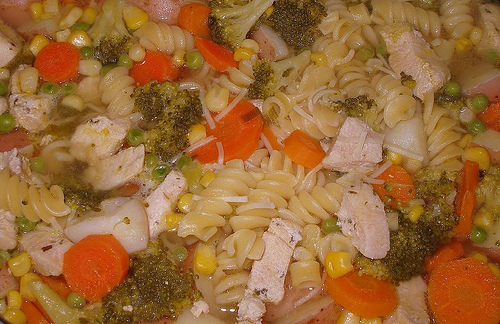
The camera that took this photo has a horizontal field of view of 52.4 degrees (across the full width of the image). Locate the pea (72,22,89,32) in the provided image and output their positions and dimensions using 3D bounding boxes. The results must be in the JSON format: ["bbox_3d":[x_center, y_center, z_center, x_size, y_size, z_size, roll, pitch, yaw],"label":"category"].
[{"bbox_3d":[-2.142,-1.707,6.432,0.132,0.110,0.107,2,68,3],"label":"pea"}]

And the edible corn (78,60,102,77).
[{"bbox_3d":[-2.000,-1.166,6.339,0.226,0.171,0.178,1,105,-10],"label":"edible corn"}]

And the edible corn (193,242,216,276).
[{"bbox_3d":[-0.535,1.153,6.087,0.250,0.093,0.351,0,90,5],"label":"edible corn"}]

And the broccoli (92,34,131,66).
[{"bbox_3d":[-1.728,-1.400,6.454,0.382,0.169,0.409,21,89,11],"label":"broccoli"}]

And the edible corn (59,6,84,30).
[{"bbox_3d":[-2.267,-1.813,6.501,0.193,0.100,0.335,41,91,1],"label":"edible corn"}]

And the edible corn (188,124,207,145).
[{"bbox_3d":[-0.657,-0.350,6.272,0.223,0.088,0.229,-12,77,0],"label":"edible corn"}]

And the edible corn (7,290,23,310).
[{"bbox_3d":[-2.810,1.630,6.049,0.142,0.108,0.204,-2,87,-11],"label":"edible corn"}]

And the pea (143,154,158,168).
[{"bbox_3d":[-1.220,-0.014,6.237,0.142,0.084,0.155,-23,91,-5],"label":"pea"}]

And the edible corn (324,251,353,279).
[{"bbox_3d":[1.035,1.195,5.954,0.287,0.147,0.312,-2,94,2],"label":"edible corn"}]

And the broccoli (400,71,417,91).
[{"bbox_3d":[1.931,-0.978,6.185,0.128,0.066,0.195,-31,71,6],"label":"broccoli"}]

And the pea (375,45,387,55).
[{"bbox_3d":[1.662,-1.411,6.450,0.137,0.082,0.119,5,78,4],"label":"pea"}]

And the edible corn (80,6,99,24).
[{"bbox_3d":[-2.050,-1.857,6.537,0.165,0.123,0.225,31,88,4],"label":"edible corn"}]

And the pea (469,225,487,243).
[{"bbox_3d":[2.723,0.871,6.104,0.184,0.164,0.181,-14,79,2],"label":"pea"}]

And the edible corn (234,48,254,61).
[{"bbox_3d":[-0.089,-1.342,6.366,0.170,0.088,0.167,-42,63,-18],"label":"edible corn"}]

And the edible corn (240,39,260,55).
[{"bbox_3d":[0.004,-1.474,6.406,0.195,0.110,0.158,37,66,11],"label":"edible corn"}]

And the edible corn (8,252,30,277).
[{"bbox_3d":[-2.746,1.220,6.089,0.235,0.104,0.251,-23,78,-2],"label":"edible corn"}]

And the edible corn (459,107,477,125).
[{"bbox_3d":[2.706,-0.576,6.312,0.194,0.101,0.213,29,92,3],"label":"edible corn"}]

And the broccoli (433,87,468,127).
[{"bbox_3d":[2.504,-0.710,6.374,0.377,0.308,0.560,0,76,10],"label":"broccoli"}]

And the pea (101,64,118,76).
[{"bbox_3d":[-1.767,-1.160,6.397,0.153,0.120,0.092,-14,64,-36],"label":"pea"}]

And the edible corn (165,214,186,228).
[{"bbox_3d":[-0.927,0.711,6.211,0.229,0.088,0.166,-3,78,2],"label":"edible corn"}]

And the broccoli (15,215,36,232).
[{"bbox_3d":[-2.722,0.734,6.128,0.200,0.117,0.150,37,82,10],"label":"broccoli"}]

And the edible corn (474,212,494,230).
[{"bbox_3d":[2.806,0.691,6.110,0.174,0.111,0.206,-39,85,23],"label":"edible corn"}]

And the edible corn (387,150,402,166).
[{"bbox_3d":[1.748,-0.044,6.216,0.196,0.066,0.138,25,80,8],"label":"edible corn"}]

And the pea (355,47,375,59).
[{"bbox_3d":[1.449,-1.374,6.449,0.205,0.064,0.159,34,82,9],"label":"pea"}]

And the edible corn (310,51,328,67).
[{"bbox_3d":[0.852,-1.284,6.337,0.157,0.204,0.136,-13,110,-13],"label":"edible corn"}]

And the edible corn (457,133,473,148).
[{"bbox_3d":[2.666,-0.266,6.340,0.230,0.078,0.106,-45,53,-6],"label":"edible corn"}]

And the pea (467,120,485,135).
[{"bbox_3d":[2.812,-0.427,6.335,0.183,0.101,0.177,-34,78,-5],"label":"pea"}]

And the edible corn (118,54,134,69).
[{"bbox_3d":[-1.561,-1.246,6.377,0.157,0.164,0.206,4,96,14],"label":"edible corn"}]

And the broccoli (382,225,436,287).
[{"bbox_3d":[1.867,1.095,6.011,0.569,0.426,0.635,5,109,36],"label":"broccoli"}]

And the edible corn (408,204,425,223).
[{"bbox_3d":[1.974,0.613,6.127,0.135,0.100,0.226,40,87,1],"label":"edible corn"}]

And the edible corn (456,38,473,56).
[{"bbox_3d":[2.706,-1.442,6.448,0.174,0.098,0.183,-27,93,4],"label":"edible corn"}]

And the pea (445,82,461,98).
[{"bbox_3d":[2.547,-0.905,6.375,0.200,0.087,0.196,-4,78,2],"label":"pea"}]

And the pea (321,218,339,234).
[{"bbox_3d":[0.956,0.769,6.082,0.191,0.146,0.161,-4,88,4],"label":"pea"}]

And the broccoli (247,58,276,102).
[{"bbox_3d":[0.149,-1.005,6.301,0.354,0.234,0.458,9,78,5],"label":"broccoli"}]

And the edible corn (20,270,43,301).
[{"bbox_3d":[-2.644,1.462,6.079,0.237,0.114,0.348,14,79,6],"label":"edible corn"}]

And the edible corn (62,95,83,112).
[{"bbox_3d":[-2.190,-0.746,6.305,0.238,0.096,0.144,20,79,7],"label":"edible corn"}]

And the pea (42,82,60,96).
[{"bbox_3d":[-2.471,-0.910,6.309,0.182,0.067,0.179,21,80,7],"label":"pea"}]

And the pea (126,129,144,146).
[{"bbox_3d":[-1.401,-0.299,6.201,0.153,0.203,0.124,-13,122,-24],"label":"pea"}]

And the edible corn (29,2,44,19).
[{"bbox_3d":[-2.723,-1.923,6.489,0.172,0.078,0.185,1,78,3],"label":"edible corn"}]

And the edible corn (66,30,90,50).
[{"bbox_3d":[-2.190,-1.555,6.476,0.232,0.108,0.243,26,88,-9],"label":"edible corn"}]

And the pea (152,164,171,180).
[{"bbox_3d":[-1.099,0.117,6.250,0.223,0.084,0.175,-41,79,-6],"label":"pea"}]

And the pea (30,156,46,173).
[{"bbox_3d":[-2.576,0.031,6.166,0.162,0.170,0.210,1,92,3],"label":"pea"}]

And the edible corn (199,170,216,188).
[{"bbox_3d":[-0.536,0.204,6.325,0.131,0.178,0.188,24,81,50],"label":"edible corn"}]

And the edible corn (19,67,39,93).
[{"bbox_3d":[-2.733,-1.013,6.257,0.202,0.152,0.299,5,83,-18],"label":"edible corn"}]

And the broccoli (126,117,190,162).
[{"bbox_3d":[-1.089,-0.252,6.218,0.781,0.294,0.445,-14,77,0],"label":"broccoli"}]
